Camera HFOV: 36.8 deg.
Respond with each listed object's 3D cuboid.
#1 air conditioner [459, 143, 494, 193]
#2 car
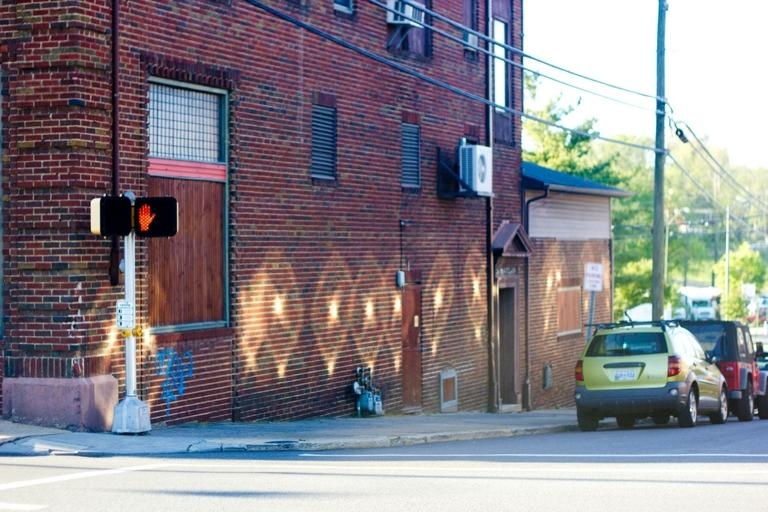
[{"bbox_3d":[2.396,-2.233,30.047,0.426,1.251,1.272,2,2,26],"label":"air conditioner"},{"bbox_3d":[6.438,2.712,26.330,2.189,2.285,4.680,5,1,37],"label":"car"}]
